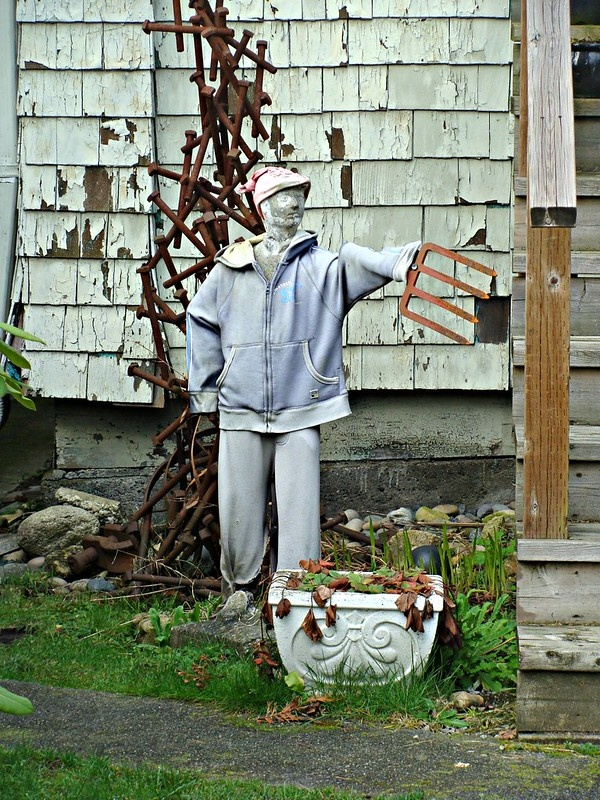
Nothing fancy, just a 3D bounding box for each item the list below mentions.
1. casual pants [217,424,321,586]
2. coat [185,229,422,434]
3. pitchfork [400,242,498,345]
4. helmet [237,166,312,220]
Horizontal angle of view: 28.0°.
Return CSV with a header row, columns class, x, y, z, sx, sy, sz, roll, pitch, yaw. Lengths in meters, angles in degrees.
class,x,y,z,sx,sy,sz,roll,pitch,yaw
casual pants,-0.115,0.435,4.356,0.359,0.224,0.906,-1,38,-2
coat,0.005,-0.294,4.654,0.852,0.774,0.335,-1,-3,11
pitchfork,0.657,-0.464,5.166,0.399,0.390,0.028,24,9,19
helmet,-0.100,-0.763,4.341,0.206,0.135,0.167,-18,-7,20
